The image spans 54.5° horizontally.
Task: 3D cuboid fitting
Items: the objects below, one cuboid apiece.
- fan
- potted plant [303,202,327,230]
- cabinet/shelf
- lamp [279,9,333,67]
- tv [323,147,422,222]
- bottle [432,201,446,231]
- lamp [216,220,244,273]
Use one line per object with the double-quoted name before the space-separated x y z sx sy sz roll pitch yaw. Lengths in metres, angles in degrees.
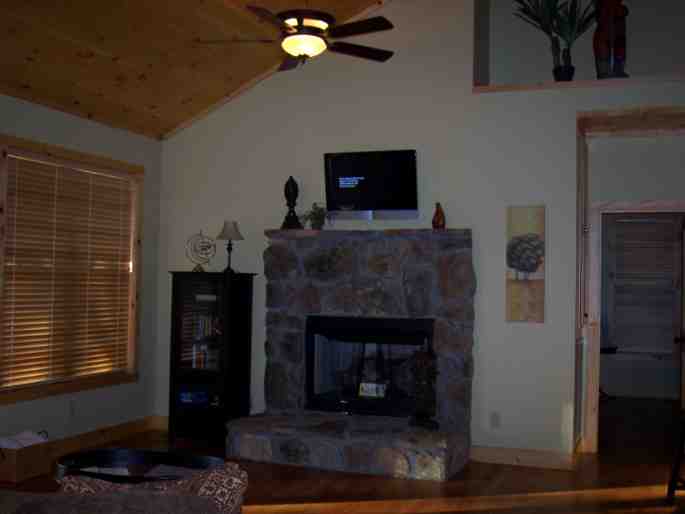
"fan" -0.441 -1.944 5.875 0.908 0.179 0.854 -1 2 -30
"potted plant" -0.258 -0.406 6.503 0.238 0.251 0.242 0 -5 -1
"cabinet/shelf" -1.291 0.971 6.517 0.780 1.670 0.469 0 6 -13
"lamp" -0.302 -1.671 5.086 0.404 0.274 0.415 0 -1 15
"tv" 0.273 -0.692 6.423 0.935 0.672 0.097 4 6 19
"bottle" 0.900 -0.381 6.123 0.128 0.241 0.354 3 6 8
"lamp" -1.142 -0.120 6.737 0.279 0.492 0.575 1 6 -11
